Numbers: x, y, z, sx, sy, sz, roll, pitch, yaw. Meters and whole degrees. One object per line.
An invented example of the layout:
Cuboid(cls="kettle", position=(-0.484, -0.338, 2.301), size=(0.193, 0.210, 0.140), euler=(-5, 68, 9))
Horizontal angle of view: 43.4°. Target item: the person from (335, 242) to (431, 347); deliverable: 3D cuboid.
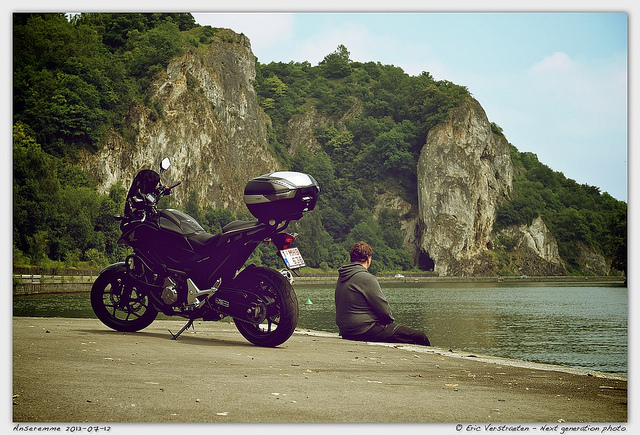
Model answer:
Cuboid(cls="person", position=(1.097, 1.552, 16.865), size=(1.439, 2.067, 1.041), euler=(6, -4, -41))
